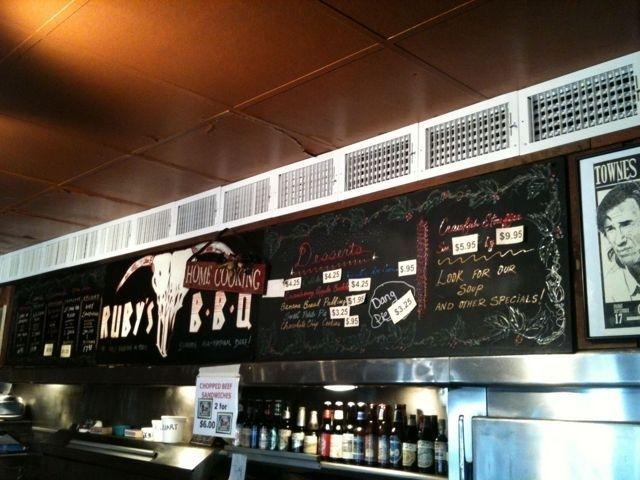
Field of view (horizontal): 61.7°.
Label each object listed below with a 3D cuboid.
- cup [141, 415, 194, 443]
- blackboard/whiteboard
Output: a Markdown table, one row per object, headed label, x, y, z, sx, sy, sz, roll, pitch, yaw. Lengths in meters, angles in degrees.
| label | x | y | z | sx | sy | sz | roll | pitch | yaw |
| --- | --- | --- | --- | --- | --- | --- | --- | --- | --- |
| cup | -1.135 | 1.421 | 3.989 | 0.352 | 0.153 | 0.234 | 0 | -21 | -4 |
| blackboard/whiteboard | -0.391 | 0.346 | 3.575 | 3.932 | 1.020 | 0.125 | -13 | -21 | 35 |
